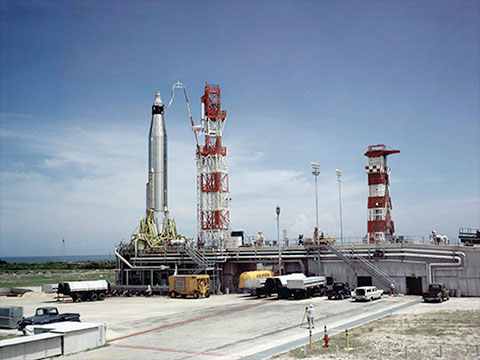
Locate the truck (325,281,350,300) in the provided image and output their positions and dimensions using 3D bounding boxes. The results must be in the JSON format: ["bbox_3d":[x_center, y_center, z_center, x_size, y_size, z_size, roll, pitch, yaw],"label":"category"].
[{"bbox_3d":[12.468,14.106,76.034,3.238,2.178,1.571,4,-13,-33],"label":"truck"}]

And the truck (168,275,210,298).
[{"bbox_3d":[-6.722,15.237,86.000,6.032,3.109,4.978,-6,-9,13],"label":"truck"}]

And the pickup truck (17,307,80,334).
[{"bbox_3d":[-17.890,13.165,56.620,2.646,2.085,4.864,-7,-12,34],"label":"pickup truck"}]

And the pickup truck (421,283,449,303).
[{"bbox_3d":[23.361,13.700,72.194,1.813,1.604,3.362,-2,0,33],"label":"pickup truck"}]

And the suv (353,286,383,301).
[{"bbox_3d":[15.533,14.023,73.545,1.718,1.276,3.771,2,4,38],"label":"suv"}]
